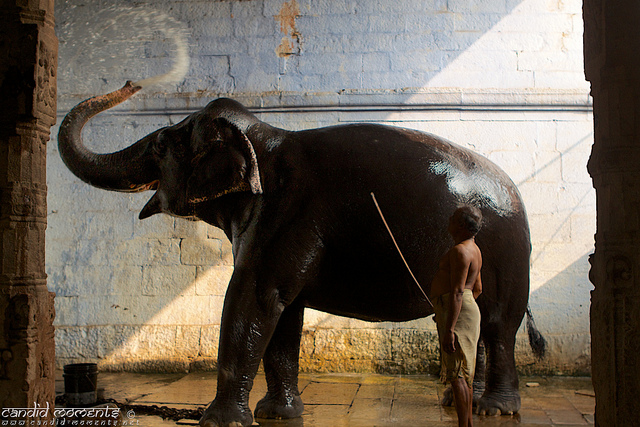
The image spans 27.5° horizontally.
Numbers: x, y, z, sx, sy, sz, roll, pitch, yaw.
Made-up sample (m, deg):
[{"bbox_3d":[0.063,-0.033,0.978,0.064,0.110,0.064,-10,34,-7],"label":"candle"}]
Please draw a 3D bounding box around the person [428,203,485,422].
[{"bbox_3d":[1.167,0.860,11.347,0.432,1.857,0.353,3,-11,4],"label":"person"}]

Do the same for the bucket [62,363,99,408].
[{"bbox_3d":[-2.236,1.582,12.219,0.332,0.373,0.355,4,2,0],"label":"bucket"}]
